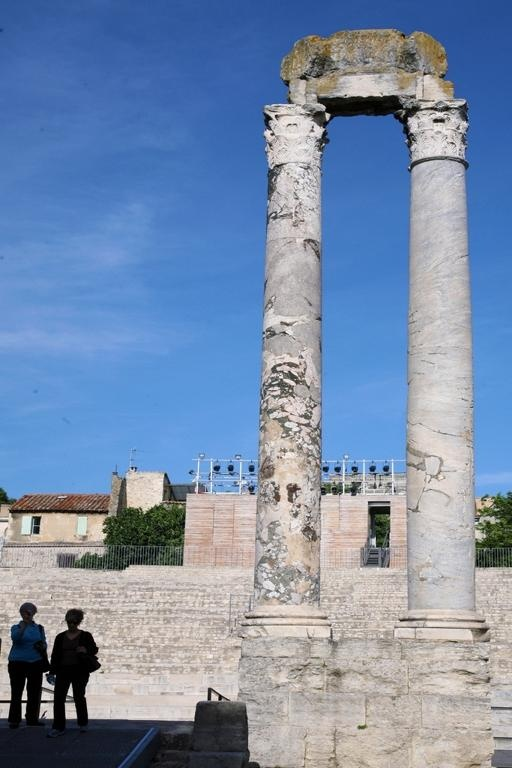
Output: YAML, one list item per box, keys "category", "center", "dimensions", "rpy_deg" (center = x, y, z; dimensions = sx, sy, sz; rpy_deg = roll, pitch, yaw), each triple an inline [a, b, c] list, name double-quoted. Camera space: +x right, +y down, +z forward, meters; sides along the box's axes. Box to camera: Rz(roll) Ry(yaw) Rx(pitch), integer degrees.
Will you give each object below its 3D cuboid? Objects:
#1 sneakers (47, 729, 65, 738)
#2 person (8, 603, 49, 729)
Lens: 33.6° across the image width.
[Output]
- category: "sneakers"
  center: [-1.661, 2.898, 7.035]
  dimensions: [0.056, 0.051, 0.131]
  rpy_deg: [-1, -22, 24]
- category: "person"
  center: [-2.134, 2.659, 7.982]
  dimensions: [0.382, 1.158, 0.989]
  rpy_deg: [4, -12, -12]
